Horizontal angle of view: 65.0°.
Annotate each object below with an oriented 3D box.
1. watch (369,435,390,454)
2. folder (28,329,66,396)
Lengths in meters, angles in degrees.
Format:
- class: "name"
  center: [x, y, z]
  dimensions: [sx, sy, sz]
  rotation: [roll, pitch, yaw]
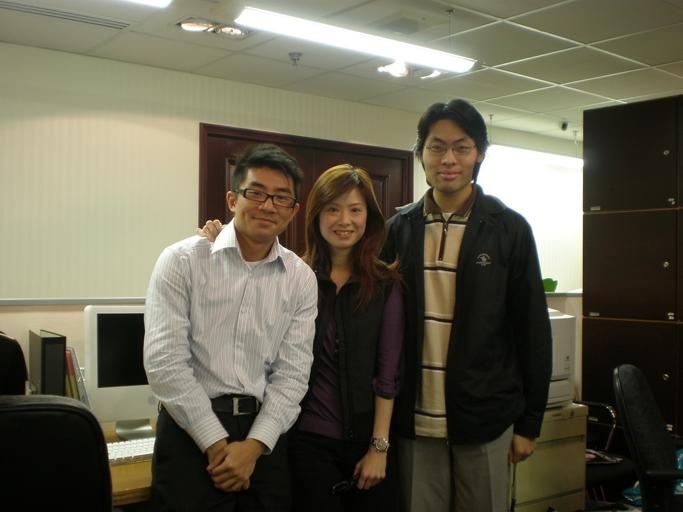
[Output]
- class: "watch"
  center: [0.143, 0.695, 1.983]
  dimensions: [0.052, 0.035, 0.059]
  rotation: [1, -5, -1]
- class: "folder"
  center: [-1.208, 0.445, 2.209]
  dimensions: [0.093, 0.330, 0.194]
  rotation: [1, 8, -40]
